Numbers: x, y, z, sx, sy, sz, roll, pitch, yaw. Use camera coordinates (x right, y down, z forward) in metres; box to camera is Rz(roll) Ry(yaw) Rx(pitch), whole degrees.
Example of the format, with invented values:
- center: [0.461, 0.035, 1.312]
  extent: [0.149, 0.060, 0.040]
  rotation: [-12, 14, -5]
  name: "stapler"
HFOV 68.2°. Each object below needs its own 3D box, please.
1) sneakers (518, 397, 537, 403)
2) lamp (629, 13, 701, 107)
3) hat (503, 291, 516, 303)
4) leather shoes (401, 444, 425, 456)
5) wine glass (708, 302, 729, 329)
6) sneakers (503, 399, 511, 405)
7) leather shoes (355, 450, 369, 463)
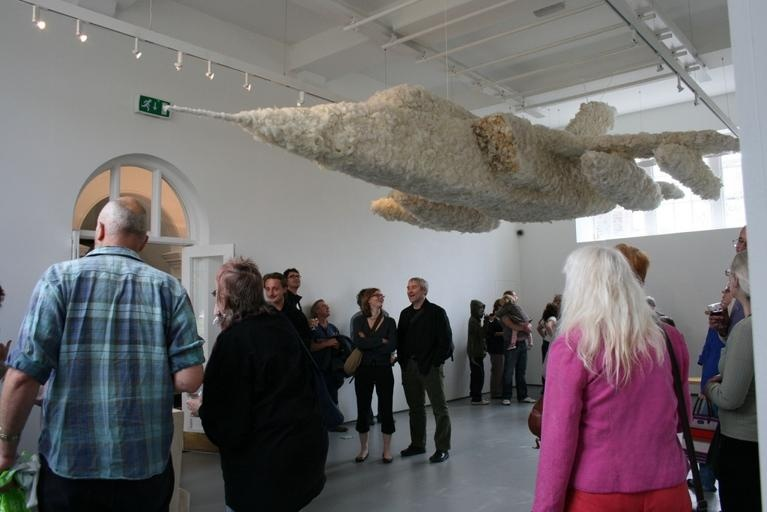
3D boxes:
- center: [2.353, 2.344, 9.260]
  extent: [0.264, 0.116, 0.103]
  rotation: [0, -1, 5]
  name: "sneakers"
- center: [3.181, -2.222, 6.406]
  extent: [0.189, 0.263, 1.264]
  rotation: [-26, -39, 27]
  name: "lamp"
- center: [2.173, 0.706, 9.788]
  extent: [0.157, 0.219, 0.201]
  rotation: [-6, 4, 7]
  name: "hat"
- center: [0.318, 2.091, 6.125]
  extent: [0.250, 0.119, 0.104]
  rotation: [2, -4, -12]
  name: "leather shoes"
- center: [2.332, 0.427, 4.031]
  extent: [0.176, 0.186, 0.135]
  rotation: [-2, 2, -40]
  name: "wine glass"
- center: [1.956, 2.317, 9.022]
  extent: [0.055, 0.064, 0.155]
  rotation: [-1, -7, -6]
  name: "sneakers"
- center: [-0.241, 2.113, 5.950]
  extent: [0.055, 0.063, 0.152]
  rotation: [-6, -15, 23]
  name: "leather shoes"
